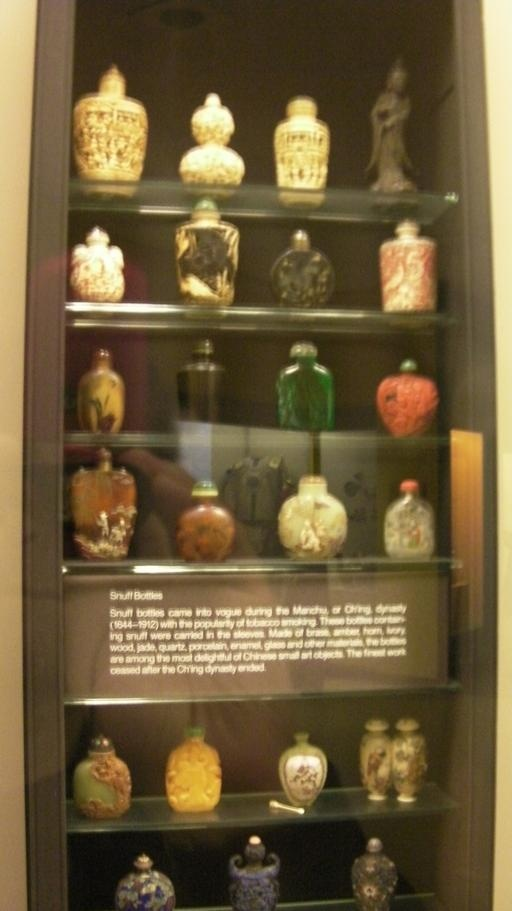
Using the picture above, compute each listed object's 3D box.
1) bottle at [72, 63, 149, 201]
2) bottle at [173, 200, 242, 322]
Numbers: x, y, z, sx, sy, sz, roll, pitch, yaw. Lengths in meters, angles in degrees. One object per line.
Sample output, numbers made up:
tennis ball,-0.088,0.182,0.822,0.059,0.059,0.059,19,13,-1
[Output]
bottle,-0.223,-0.533,1.532,0.068,0.211,0.170,0,3,40
bottle,-0.077,-0.339,1.657,0.142,0.258,0.151,1,1,0
